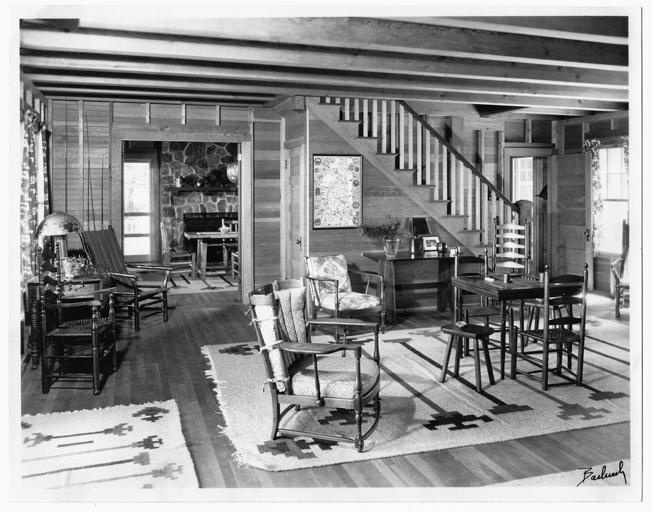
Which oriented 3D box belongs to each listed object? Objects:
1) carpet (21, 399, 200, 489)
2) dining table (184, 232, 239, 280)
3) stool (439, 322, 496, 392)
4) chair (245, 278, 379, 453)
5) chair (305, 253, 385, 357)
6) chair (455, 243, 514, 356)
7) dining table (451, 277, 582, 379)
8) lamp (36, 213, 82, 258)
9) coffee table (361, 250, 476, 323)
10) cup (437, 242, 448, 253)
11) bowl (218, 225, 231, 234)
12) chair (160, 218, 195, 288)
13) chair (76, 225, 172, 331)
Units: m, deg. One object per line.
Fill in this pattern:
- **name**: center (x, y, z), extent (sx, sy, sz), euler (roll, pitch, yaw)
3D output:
- **carpet**: center (-1.826, 1.559, 4.298), extent (1.310, 0.170, 1.621), euler (-5, 5, -21)
- **dining table**: center (-2.540, -0.045, 13.008), extent (1.347, 0.871, 0.759), euler (2, 0, 18)
- **stool**: center (1.523, 1.065, 5.637), extent (0.507, 0.581, 0.543), euler (-3, 3, -44)
- **chair**: center (-0.041, 0.896, 4.495), extent (1.097, 1.180, 0.929), euler (2, 9, 12)
- **chair**: center (0.261, 0.562, 7.533), extent (1.050, 1.122, 0.958), euler (-7, 9, -33)
- **chair**: center (2.039, 0.576, 6.435), extent (0.762, 1.245, 0.740), euler (-2, -9, 2)
- **dining table**: center (2.204, 0.604, 5.999), extent (1.180, 0.951, 1.359), euler (0, 2, -15)
- **lamp**: center (-3.156, -0.279, 6.306), extent (0.471, 0.467, 0.457), euler (-1, 3, -26)
- **coffee table**: center (1.917, 0.444, 9.413), extent (0.860, 0.901, 1.567), euler (-5, -4, 31)
- **cup**: center (1.917, -0.142, 8.609), extent (0.158, 0.165, 0.286), euler (-2, 5, 14)
- **bowl**: center (-2.513, -0.675, 13.064), extent (0.281, 0.121, 0.265), euler (-1, 5, 0)
- **chair**: center (-3.835, -0.016, 13.318), extent (0.971, 1.519, 0.966), euler (5, 17, -21)
- **chair**: center (-3.043, 0.263, 8.049), extent (1.101, 1.325, 0.943), euler (6, 8, 8)
